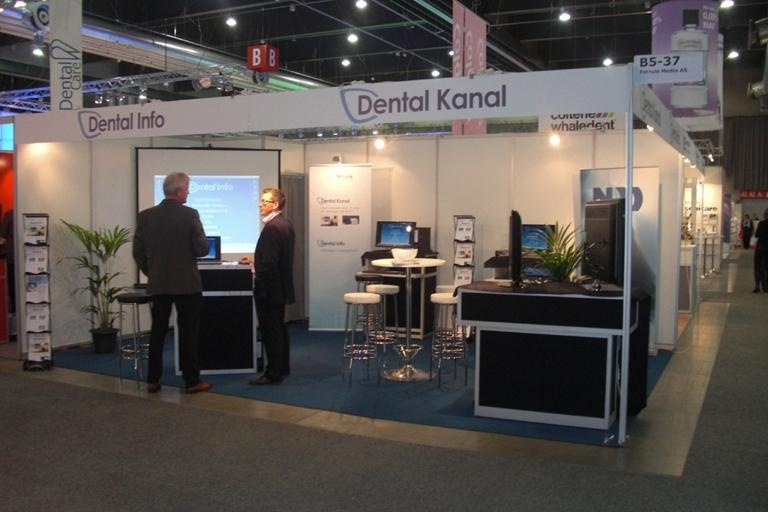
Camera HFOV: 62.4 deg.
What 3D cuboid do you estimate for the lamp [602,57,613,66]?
[{"bbox_3d":[5.153,-4.546,14.652,0.240,0.186,0.652,5,13,17],"label":"lamp"}]

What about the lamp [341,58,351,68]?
[{"bbox_3d":[-0.908,-4.531,14.761,0.213,0.150,0.536,0,13,-5],"label":"lamp"}]

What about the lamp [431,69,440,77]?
[{"bbox_3d":[1.239,-4.513,15.523,0.206,0.165,0.355,2,13,3],"label":"lamp"}]

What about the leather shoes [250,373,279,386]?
[{"bbox_3d":[-1.414,1.468,7.529,0.361,0.155,0.133,4,-1,-1],"label":"leather shoes"}]

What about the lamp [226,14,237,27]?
[{"bbox_3d":[-2.887,-4.393,11.832,0.184,0.181,0.190,4,38,4],"label":"lamp"}]

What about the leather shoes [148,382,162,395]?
[{"bbox_3d":[-2.604,1.494,7.198,0.120,0.133,0.122,2,6,2],"label":"leather shoes"}]

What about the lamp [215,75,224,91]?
[{"bbox_3d":[-2.950,-3.147,11.393,0.143,0.250,0.270,-8,15,-37],"label":"lamp"}]

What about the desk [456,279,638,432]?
[{"bbox_3d":[1.783,1.041,6.867,1.862,1.415,1.144,0,-8,25],"label":"desk"}]

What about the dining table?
[{"bbox_3d":[0.294,0.779,8.326,1.336,1.778,1.319,0,0,-2],"label":"dining table"}]

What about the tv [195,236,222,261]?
[{"bbox_3d":[-2.090,-0.094,7.484,0.295,0.303,0.160,0,-4,1],"label":"tv"}]

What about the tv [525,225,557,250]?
[{"bbox_3d":[2.137,-0.252,8.700,0.363,0.263,0.013,-1,-12,25],"label":"tv"}]

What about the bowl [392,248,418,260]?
[{"bbox_3d":[0.223,-0.023,8.286,0.194,0.101,0.219,1,-1,-28],"label":"bowl"}]

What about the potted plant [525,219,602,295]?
[{"bbox_3d":[1.974,-0.026,7.246,0.892,0.900,0.848,1,6,36],"label":"potted plant"}]

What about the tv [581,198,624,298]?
[{"bbox_3d":[2.185,-0.071,6.322,0.316,0.990,0.893,-3,7,-9],"label":"tv"}]
